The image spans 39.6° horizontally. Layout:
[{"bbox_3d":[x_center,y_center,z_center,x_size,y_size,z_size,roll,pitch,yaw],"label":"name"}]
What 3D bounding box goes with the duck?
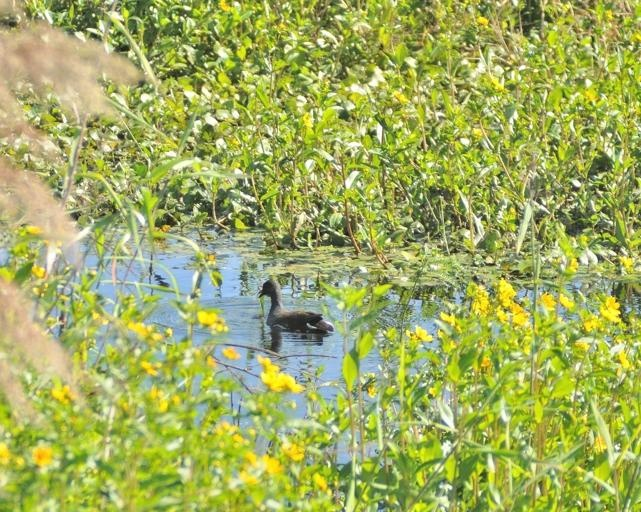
[{"bbox_3d":[-0.157,0.308,5.305,0.462,0.336,0.162,4,6,22],"label":"duck"}]
